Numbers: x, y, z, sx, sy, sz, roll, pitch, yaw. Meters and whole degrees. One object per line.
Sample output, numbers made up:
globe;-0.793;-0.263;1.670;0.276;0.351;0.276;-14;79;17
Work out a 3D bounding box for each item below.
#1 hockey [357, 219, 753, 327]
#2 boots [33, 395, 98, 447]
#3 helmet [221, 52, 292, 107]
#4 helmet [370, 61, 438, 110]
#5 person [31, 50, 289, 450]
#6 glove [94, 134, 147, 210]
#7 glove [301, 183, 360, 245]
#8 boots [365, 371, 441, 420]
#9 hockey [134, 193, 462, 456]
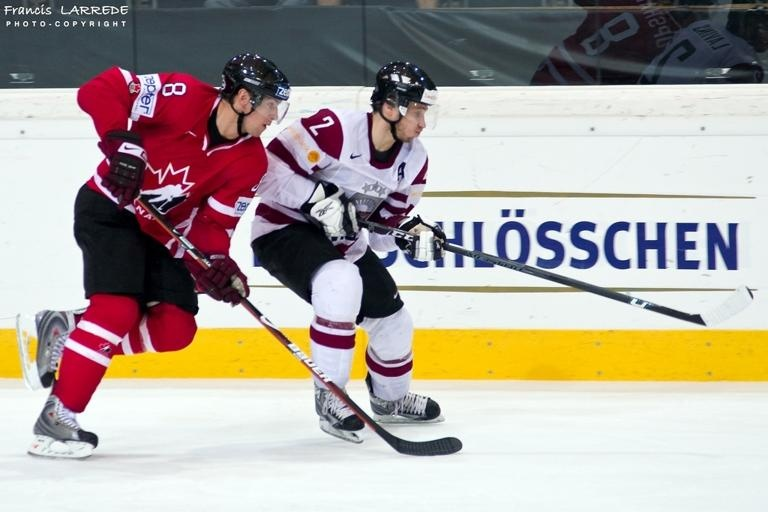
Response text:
hockey;0.935;0.093;5.847;1.393;0.136;0.216;16;-10;11
boots;-1.378;0.699;4.798;0.124;0.185;0.358;2;-13;41
helmet;-0.546;-0.775;4.997;0.314;0.225;0.224;7;13;-3
helmet;0.084;-0.762;5.126;0.302;0.240;0.207;15;6;-2
person;-1.006;-0.027;4.948;1.187;1.668;0.467;-7;16;-28
glove;-1.082;-0.363;4.721;0.273;0.270;0.082;6;-1;-11
glove;-0.224;-0.194;5.118;0.309;0.188;0.129;43;7;-10
boots;0.115;0.699;5.486;0.429;0.188;0.150;-2;9;5
hockey;-0.435;0.347;5.340;1.926;0.043;0.259;36;29;5
